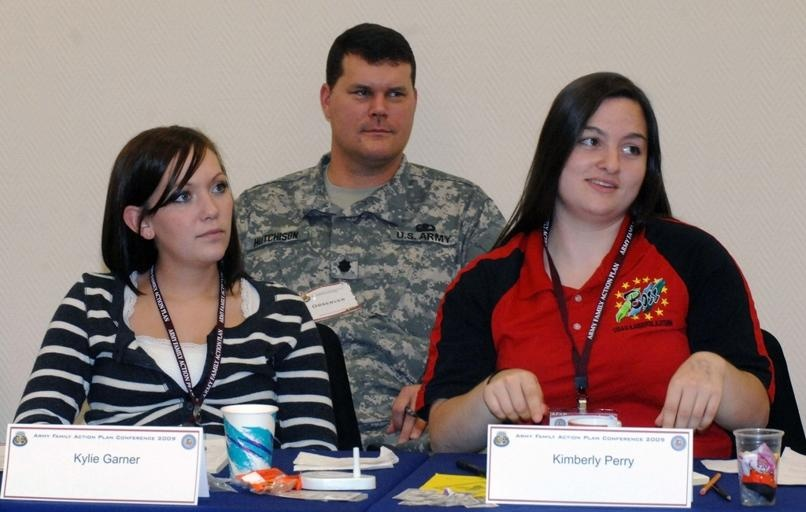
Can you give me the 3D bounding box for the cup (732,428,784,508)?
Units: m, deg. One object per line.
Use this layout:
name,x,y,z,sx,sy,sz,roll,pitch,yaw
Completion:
cup,0.899,0.531,1.714,0.147,0.203,0.158,1,-9,0

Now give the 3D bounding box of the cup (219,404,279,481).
cup,-0.425,0.512,1.872,0.175,0.198,0.178,0,-8,0

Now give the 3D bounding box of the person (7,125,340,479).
person,-0.853,0.185,2.513,1.239,1.212,0.682,3,1,-32
